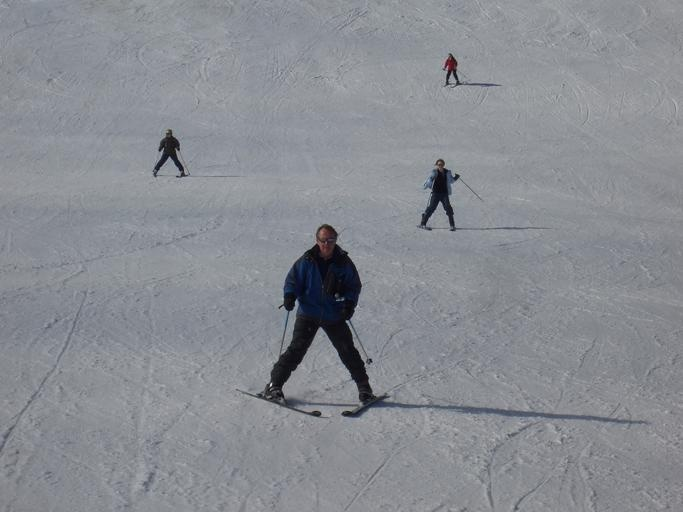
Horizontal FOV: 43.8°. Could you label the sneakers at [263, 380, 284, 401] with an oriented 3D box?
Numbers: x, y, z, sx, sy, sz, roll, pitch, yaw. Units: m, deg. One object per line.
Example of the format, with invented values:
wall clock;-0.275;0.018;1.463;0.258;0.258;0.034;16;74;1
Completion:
sneakers;-0.914;1.840;11.460;0.302;0.185;0.302;19;48;-24
